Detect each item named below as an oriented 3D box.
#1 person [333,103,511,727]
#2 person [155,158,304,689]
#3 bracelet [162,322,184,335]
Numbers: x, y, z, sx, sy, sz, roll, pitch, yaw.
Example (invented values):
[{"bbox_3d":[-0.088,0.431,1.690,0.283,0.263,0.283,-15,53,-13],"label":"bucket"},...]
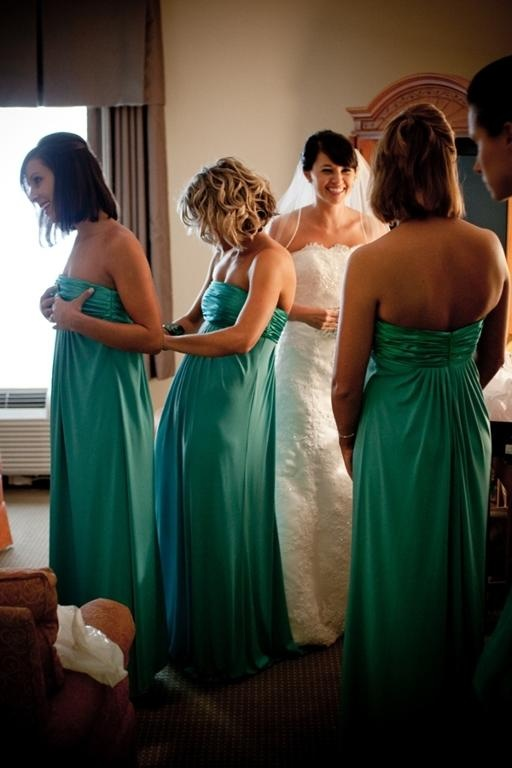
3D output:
[{"bbox_3d":[0.344,0.073,1.304,0.371,1.230,0.292,2,7,7],"label":"person"},{"bbox_3d":[-0.090,0.109,1.892,0.448,1.547,0.339,0,7,-7],"label":"person"},{"bbox_3d":[-0.271,-0.177,2.022,0.057,0.038,0.044,-2,7,-37],"label":"bracelet"}]
